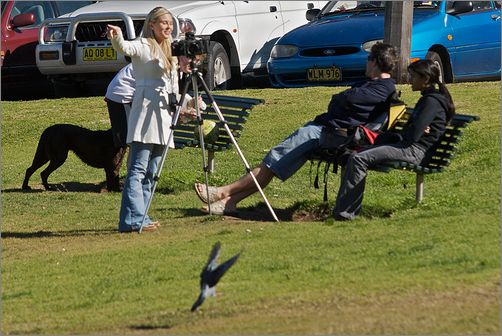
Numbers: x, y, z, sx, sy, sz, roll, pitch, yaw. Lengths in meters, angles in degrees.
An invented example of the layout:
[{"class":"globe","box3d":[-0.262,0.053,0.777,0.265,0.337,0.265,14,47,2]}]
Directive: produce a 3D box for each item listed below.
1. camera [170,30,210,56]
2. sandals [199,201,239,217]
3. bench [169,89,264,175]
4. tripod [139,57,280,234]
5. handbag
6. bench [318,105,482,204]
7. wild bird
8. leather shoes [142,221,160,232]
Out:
[{"class":"camera","box3d":[-0.653,-1.376,7.361,0.344,0.252,0.252,-6,5,8]},{"class":"sandals","box3d":[-0.383,0.468,7.909,0.428,0.183,0.173,4,-1,-13]},{"class":"bench","box3d":[-0.863,-0.648,10.112,0.917,0.983,1.894,4,5,-42]},{"class":"tripod","box3d":[-0.831,-0.171,8.341,1.775,2.549,1.703,4,-14,-44]},{"class":"handbag","box3d":[1.090,-0.103,7.809,0.717,0.806,0.578,-3,12,16]},{"class":"bench","box3d":[1.596,-0.185,7.675,1.109,1.032,1.905,-5,9,-33]},{"class":"wild bird","box3d":[-0.271,0.860,5.278,0.374,0.590,0.618,0,10,0]},{"class":"leather shoes","box3d":[-1.158,0.650,7.551,0.194,0.082,0.071,-12,13,-28]}]
